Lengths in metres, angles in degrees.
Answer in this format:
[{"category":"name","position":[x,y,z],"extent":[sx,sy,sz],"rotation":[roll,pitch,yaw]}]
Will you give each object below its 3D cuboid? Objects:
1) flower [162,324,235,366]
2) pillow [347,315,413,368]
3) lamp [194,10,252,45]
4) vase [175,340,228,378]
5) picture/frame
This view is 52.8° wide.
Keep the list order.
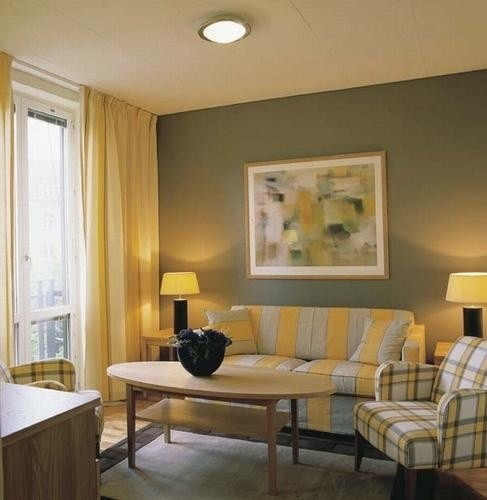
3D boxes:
[{"category":"flower","position":[-0.299,0.568,3.184],"extent":[0.464,0.222,0.447],"rotation":[1,-5,-14]},{"category":"pillow","position":[1.037,0.692,3.675],"extent":[0.114,0.358,0.374],"rotation":[34,-18,-26]},{"category":"lamp","position":[-0.122,-1.409,3.125],"extent":[0.336,0.091,0.238],"rotation":[-1,0,1]},{"category":"vase","position":[-0.251,0.663,3.035],"extent":[0.242,0.131,0.232],"rotation":[0,-6,1]},{"category":"picture/frame","position":[0.712,-0.307,4.388],"extent":[1.346,1.023,0.051],"rotation":[-1,1,13]}]
